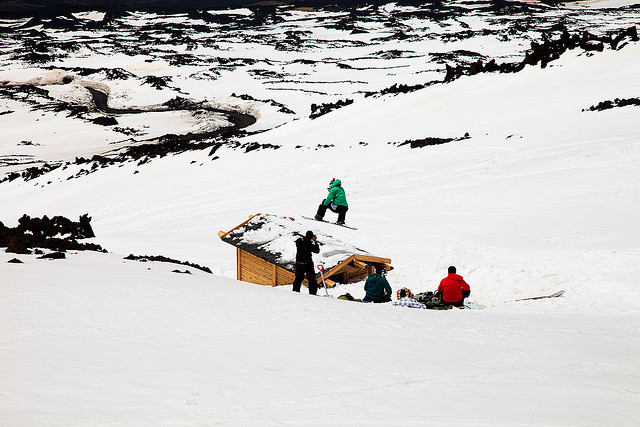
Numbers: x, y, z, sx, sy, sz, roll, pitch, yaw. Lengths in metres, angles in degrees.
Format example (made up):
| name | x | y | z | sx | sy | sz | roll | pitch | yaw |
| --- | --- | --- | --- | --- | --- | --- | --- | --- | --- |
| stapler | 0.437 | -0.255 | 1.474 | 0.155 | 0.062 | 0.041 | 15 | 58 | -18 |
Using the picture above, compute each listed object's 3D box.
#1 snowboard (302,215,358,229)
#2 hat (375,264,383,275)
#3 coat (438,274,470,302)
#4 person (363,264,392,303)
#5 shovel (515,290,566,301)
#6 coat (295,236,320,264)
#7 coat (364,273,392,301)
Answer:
| name | x | y | z | sx | sy | sz | roll | pitch | yaw |
| --- | --- | --- | --- | --- | --- | --- | --- | --- | --- |
| snowboard | 0.960 | 0.703 | 78.455 | 3.321 | 0.337 | 0.357 | 11 | 33 | -7 |
| hat | 4.335 | 3.929 | 71.092 | 1.011 | 0.748 | 0.523 | 3 | 9 | 0 |
| coat | 9.598 | 5.308 | 71.015 | 2.616 | 1.744 | 1.276 | -2 | 14 | 14 |
| person | 4.162 | 4.987 | 70.981 | 1.866 | 2.880 | 0.951 | -4 | 20 | 2 |
| shovel | 16.069 | 5.765 | 71.512 | 4.257 | 0.502 | 0.511 | -4 | -8 | 9 |
| coat | -0.794 | 2.645 | 72.473 | 1.998 | 1.868 | 1.600 | 11 | 24 | 28 |
| coat | 4.230 | 5.240 | 71.322 | 2.386 | 1.469 | 1.407 | 2 | 19 | 22 |
